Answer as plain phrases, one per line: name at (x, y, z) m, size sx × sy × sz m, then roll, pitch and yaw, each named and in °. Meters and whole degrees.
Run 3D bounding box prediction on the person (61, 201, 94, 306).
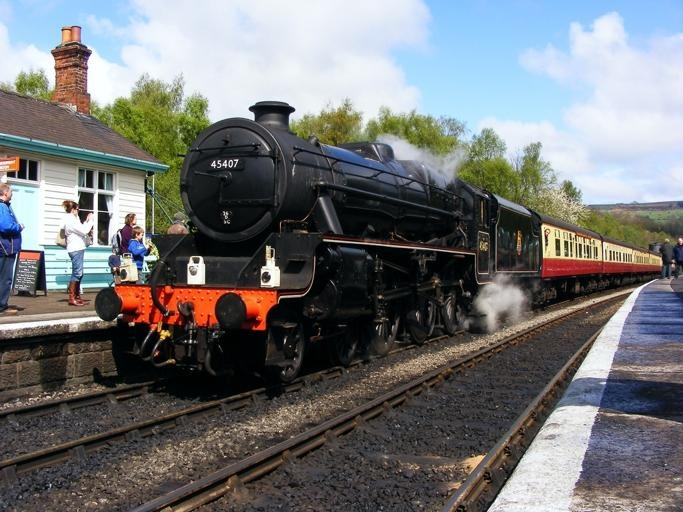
person at (-4.991, -0.055, 9.015) m, size 0.451 × 2.123 × 0.483 m, roll 1°, pitch 0°, yaw -29°
